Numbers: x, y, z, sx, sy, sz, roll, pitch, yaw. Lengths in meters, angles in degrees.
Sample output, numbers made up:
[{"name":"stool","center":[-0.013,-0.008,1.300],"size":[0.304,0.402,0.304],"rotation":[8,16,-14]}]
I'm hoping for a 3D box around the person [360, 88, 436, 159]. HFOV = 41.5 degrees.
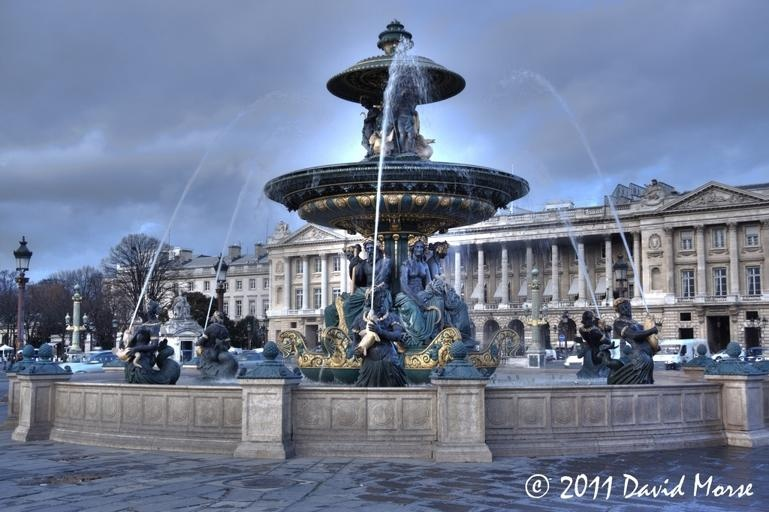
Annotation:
[{"name":"person","center":[0.273,-2.868,23.109],"size":[1.524,1.556,1.156],"rotation":[-2,-8,-1]}]
